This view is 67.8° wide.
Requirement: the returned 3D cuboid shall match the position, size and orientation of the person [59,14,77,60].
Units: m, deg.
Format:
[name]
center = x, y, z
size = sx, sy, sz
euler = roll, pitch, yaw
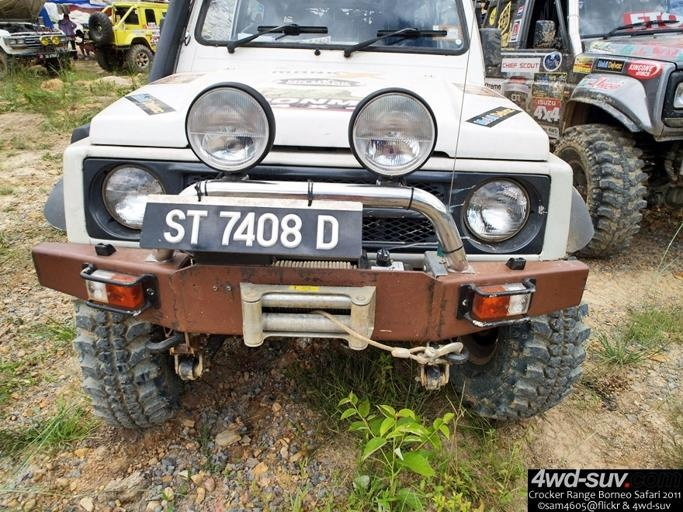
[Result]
[person]
center = -9.727, -7.897, 17.944
size = 0.521, 1.404, 0.441
euler = -6, 45, -22
